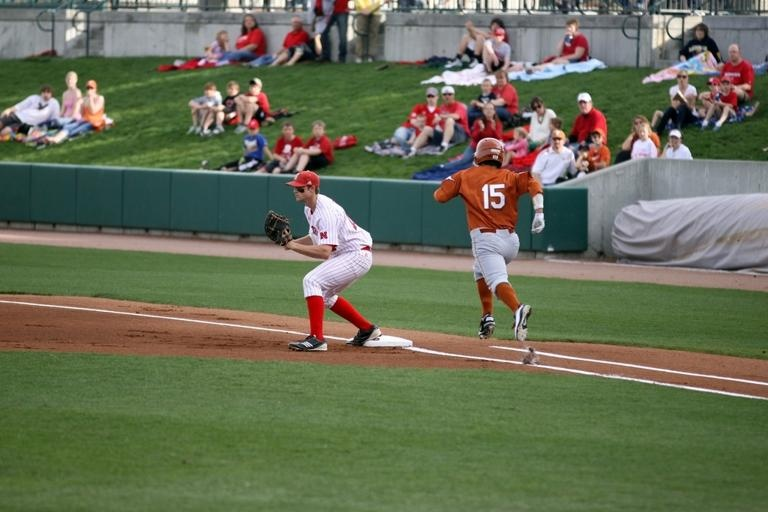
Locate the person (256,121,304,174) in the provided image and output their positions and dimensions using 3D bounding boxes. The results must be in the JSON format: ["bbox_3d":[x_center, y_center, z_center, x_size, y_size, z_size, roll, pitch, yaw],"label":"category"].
[{"bbox_3d":[-2.502,-2.507,36.000,1.484,1.464,0.712,6,-6,-15],"label":"person"}]

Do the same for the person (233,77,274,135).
[{"bbox_3d":[-3.250,-3.874,38.469,0.793,1.524,0.937,6,-5,-37],"label":"person"}]

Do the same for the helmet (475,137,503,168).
[{"bbox_3d":[1.758,-1.813,25.551,0.387,0.436,0.496,2,14,-9],"label":"helmet"}]

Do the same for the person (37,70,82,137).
[{"bbox_3d":[-8.549,-4.189,39.996,0.903,1.555,1.692,-3,7,-12],"label":"person"}]

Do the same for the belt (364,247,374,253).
[{"bbox_3d":[-0.297,-0.091,26.818,0.138,0.102,0.142,1,4,33],"label":"belt"}]

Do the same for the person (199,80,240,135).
[{"bbox_3d":[-4.160,-3.752,38.784,0.800,1.651,1.179,4,-5,-25],"label":"person"}]

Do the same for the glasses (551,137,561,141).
[{"bbox_3d":[3.771,-2.599,32.991,0.170,0.108,0.144,0,7,9],"label":"glasses"}]

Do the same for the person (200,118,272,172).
[{"bbox_3d":[-3.386,-2.627,36.323,2.190,1.502,1.070,-6,-8,43],"label":"person"}]

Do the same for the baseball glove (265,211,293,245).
[{"bbox_3d":[-1.768,-0.452,25.140,0.509,0.468,0.393,19,18,10],"label":"baseball glove"}]

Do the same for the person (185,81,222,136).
[{"bbox_3d":[-4.729,-3.925,38.970,0.946,1.659,0.698,-1,-5,15],"label":"person"}]

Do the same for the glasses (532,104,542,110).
[{"bbox_3d":[3.464,-3.451,34.142,0.225,0.160,0.158,0,7,10],"label":"glasses"}]

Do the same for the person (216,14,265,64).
[{"bbox_3d":[-4.201,-6.271,43.574,1.036,1.625,0.967,-1,-2,-39],"label":"person"}]

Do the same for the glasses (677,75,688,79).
[{"bbox_3d":[6.776,-4.165,34.203,0.192,0.106,0.177,1,8,14],"label":"glasses"}]
